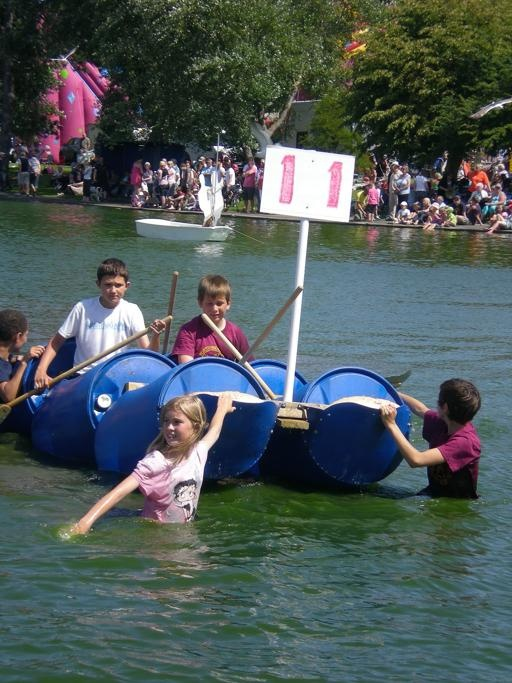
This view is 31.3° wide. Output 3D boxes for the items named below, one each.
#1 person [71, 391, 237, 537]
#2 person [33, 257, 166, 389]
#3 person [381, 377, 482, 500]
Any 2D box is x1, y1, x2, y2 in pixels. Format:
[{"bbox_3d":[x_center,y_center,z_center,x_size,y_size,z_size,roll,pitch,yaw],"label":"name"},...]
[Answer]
[{"bbox_3d":[-0.488,0.639,4.956,0.425,0.747,0.971,13,15,31],"label":"person"},{"bbox_3d":[-1.127,0.008,6.459,0.759,1.048,0.795,18,20,39],"label":"person"},{"bbox_3d":[1.097,0.634,5.640,0.627,0.867,0.775,8,13,14],"label":"person"}]
